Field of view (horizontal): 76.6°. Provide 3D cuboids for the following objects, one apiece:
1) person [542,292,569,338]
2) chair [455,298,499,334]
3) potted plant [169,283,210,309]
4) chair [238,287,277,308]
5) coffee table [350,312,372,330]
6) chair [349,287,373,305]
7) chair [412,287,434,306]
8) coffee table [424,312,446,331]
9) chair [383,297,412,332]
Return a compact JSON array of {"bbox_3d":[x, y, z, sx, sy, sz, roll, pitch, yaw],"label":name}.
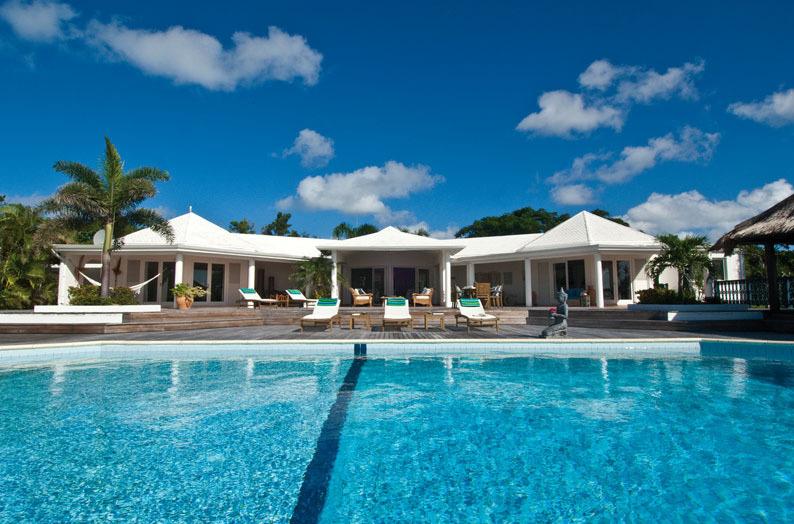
[{"bbox_3d":[5.662,1.864,17.897,0.737,1.755,1.595,7,16,26],"label":"person"},{"bbox_3d":[3.082,1.956,19.822,1.108,1.015,2.076,-1,0,-8],"label":"chair"},{"bbox_3d":[-10.324,1.597,24.748,1.808,1.204,1.734,6,-11,-30],"label":"potted plant"},{"bbox_3d":[-7.305,1.791,25.420,2.071,0.763,1.189,0,-3,16],"label":"chair"},{"bbox_3d":[-1.484,2.449,21.082,0.816,0.560,0.795,0,-10,0],"label":"coffee table"},{"bbox_3d":[-1.776,1.742,24.552,1.023,0.725,1.177,0,-2,0],"label":"chair"},{"bbox_3d":[1.340,1.658,25.253,1.126,1.064,1.025,1,-12,-8],"label":"chair"},{"bbox_3d":[1.545,2.410,20.866,0.978,0.742,0.677,0,-9,-2],"label":"coffee table"},{"bbox_3d":[-0.011,1.989,19.643,1.185,0.836,1.482,0,6,3],"label":"chair"}]
